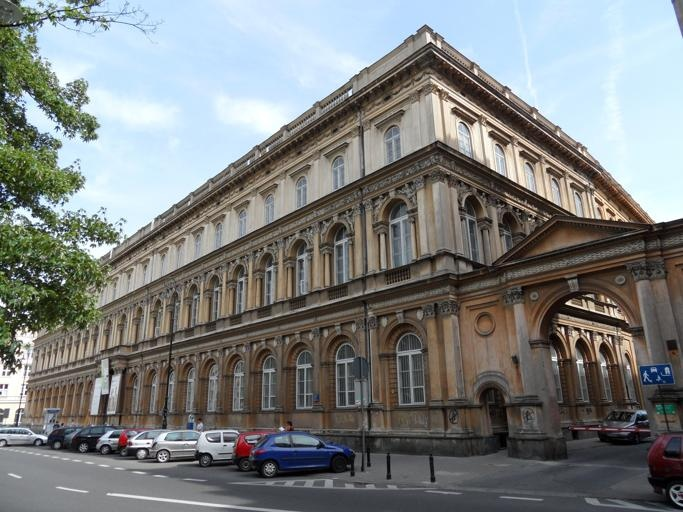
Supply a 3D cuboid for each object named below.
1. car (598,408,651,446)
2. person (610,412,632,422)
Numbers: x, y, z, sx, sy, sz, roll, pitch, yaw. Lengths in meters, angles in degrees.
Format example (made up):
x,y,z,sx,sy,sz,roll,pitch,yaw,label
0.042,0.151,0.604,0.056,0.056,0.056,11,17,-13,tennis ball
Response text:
x,y,z,sx,sy,sz,roll,pitch,yaw,label
17.029,10.231,26.550,3.056,1.878,1.725,6,-25,-16,car
17.232,9.827,27.028,1.007,0.447,0.617,15,-16,-40,person
